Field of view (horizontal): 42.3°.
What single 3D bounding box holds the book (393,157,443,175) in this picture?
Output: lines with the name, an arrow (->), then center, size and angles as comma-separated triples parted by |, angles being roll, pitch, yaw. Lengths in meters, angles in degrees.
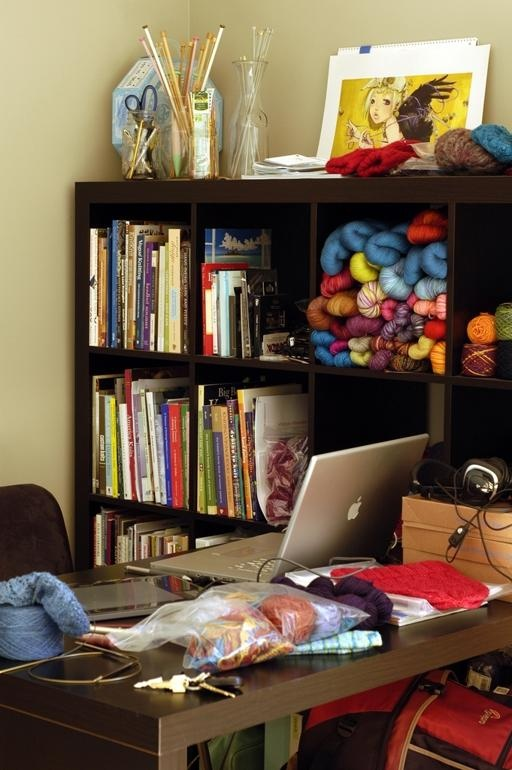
book -> 0.349, -0.473, 1.443 | 0.106, 0.036, 0.026 | 6, 13, 35

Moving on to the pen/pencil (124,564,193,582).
pen/pencil -> -0.176, 0.351, 1.228 | 0.146, 0.019, 0.017 | 3, -20, 21

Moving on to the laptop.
laptop -> 0.065, 0.168, 1.322 | 0.337, 0.223, 0.376 | 3, 2, 33

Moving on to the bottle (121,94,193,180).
bottle -> -0.301, -0.713, 2.036 | 0.234, 0.257, 0.235 | 0, 4, 16
